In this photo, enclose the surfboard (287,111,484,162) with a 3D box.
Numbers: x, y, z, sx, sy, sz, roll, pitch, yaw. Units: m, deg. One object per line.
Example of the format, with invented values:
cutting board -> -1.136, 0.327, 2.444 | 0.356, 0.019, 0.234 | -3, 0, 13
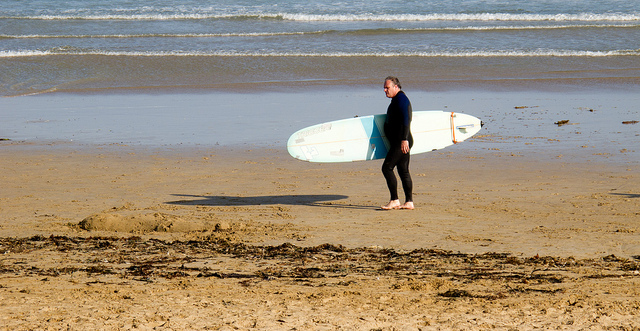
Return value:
surfboard -> 2.510, -1.232, 47.583 | 8.590, 1.452, 0.523 | -6, 19, -8
